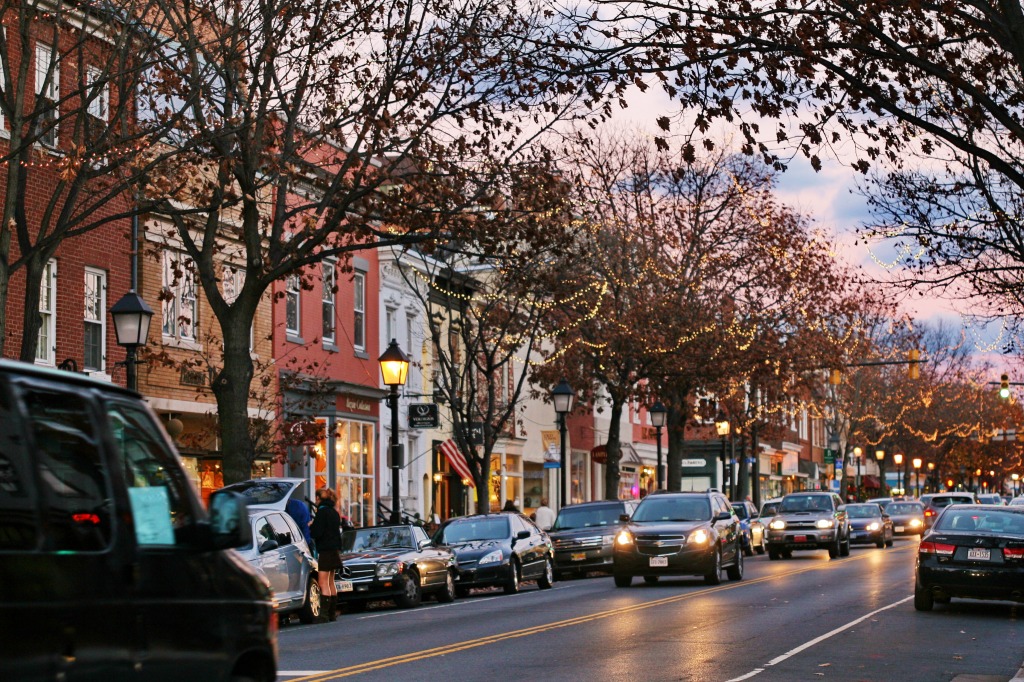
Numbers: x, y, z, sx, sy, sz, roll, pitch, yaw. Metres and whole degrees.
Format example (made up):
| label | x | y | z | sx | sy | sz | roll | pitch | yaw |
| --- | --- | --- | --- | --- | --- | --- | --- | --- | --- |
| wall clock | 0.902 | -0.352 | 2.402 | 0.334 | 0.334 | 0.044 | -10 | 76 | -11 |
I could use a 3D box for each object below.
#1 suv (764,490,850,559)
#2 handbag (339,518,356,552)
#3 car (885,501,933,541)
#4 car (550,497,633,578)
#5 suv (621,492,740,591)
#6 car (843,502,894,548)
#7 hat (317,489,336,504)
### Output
| label | x | y | z | sx | sy | sz | roll | pitch | yaw |
| --- | --- | --- | --- | --- | --- | --- | --- | --- | --- |
| suv | 9.243 | 5.654 | 47.591 | 1.491 | 1.408 | 3.166 | -3 | -13 | 14 |
| handbag | -3.457 | 4.072 | 31.895 | 0.453 | 0.609 | 0.615 | 3 | -17 | -7 |
| car | 16.950 | 7.504 | 65.335 | 1.527 | 1.218 | 3.693 | -2 | -8 | 15 |
| car | 1.860 | 5.088 | 39.253 | 1.300 | 1.264 | 2.651 | -4 | -10 | 14 |
| suv | 3.879 | 4.437 | 34.233 | 2.346 | 2.181 | 4.002 | -10 | -13 | 34 |
| car | 13.289 | 6.862 | 56.645 | 1.318 | 1.018 | 3.057 | -3 | -11 | 16 |
| hat | -3.507 | 2.940 | 28.649 | 0.238 | 0.319 | 0.320 | 0 | 2 | 8 |
